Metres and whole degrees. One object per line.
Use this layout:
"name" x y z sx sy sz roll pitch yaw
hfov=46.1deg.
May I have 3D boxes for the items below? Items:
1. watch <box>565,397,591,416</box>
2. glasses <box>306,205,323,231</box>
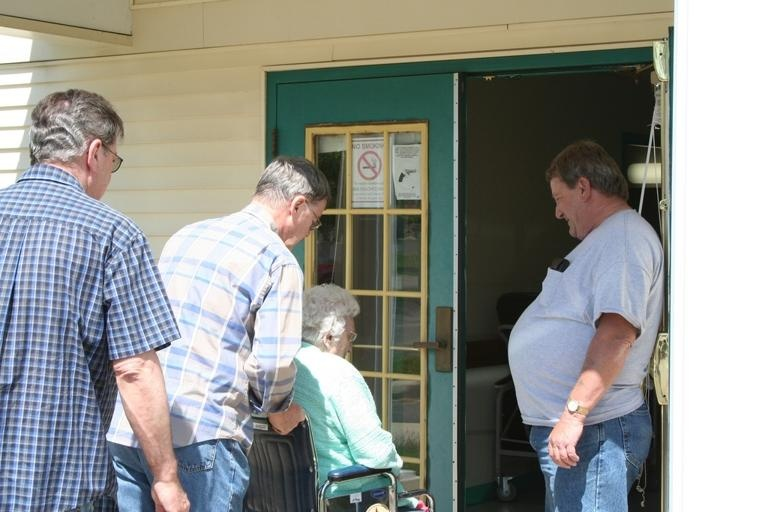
"watch" 0.819 0.623 3.770 0.065 0.040 0.068 23 -2 -17
"glasses" -0.306 -0.176 3.973 0.029 0.108 0.097 18 -6 3
